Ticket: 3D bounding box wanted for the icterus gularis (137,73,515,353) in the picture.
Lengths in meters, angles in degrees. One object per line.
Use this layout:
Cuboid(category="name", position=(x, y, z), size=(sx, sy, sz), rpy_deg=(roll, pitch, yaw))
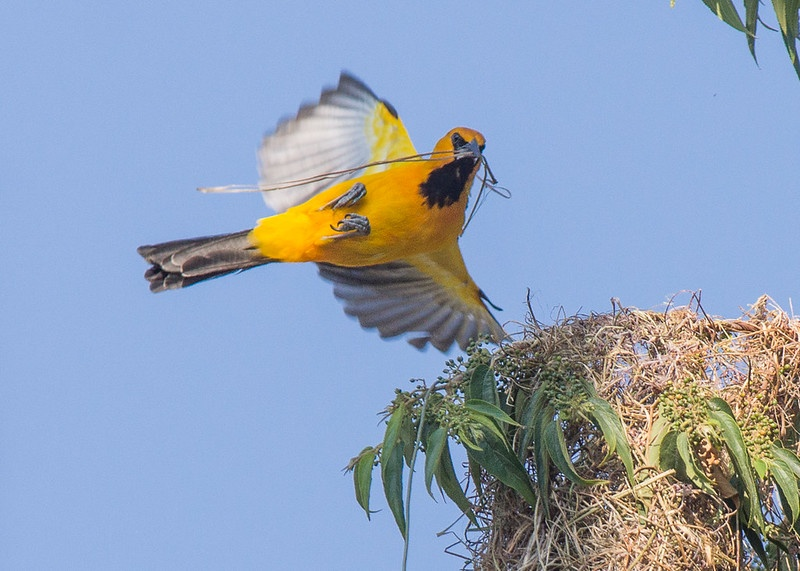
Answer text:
Cuboid(category="icterus gularis", position=(-0.214, -0.264, 4.318), size=(1.030, 0.511, 0.928), rpy_deg=(0, -16, 15))
